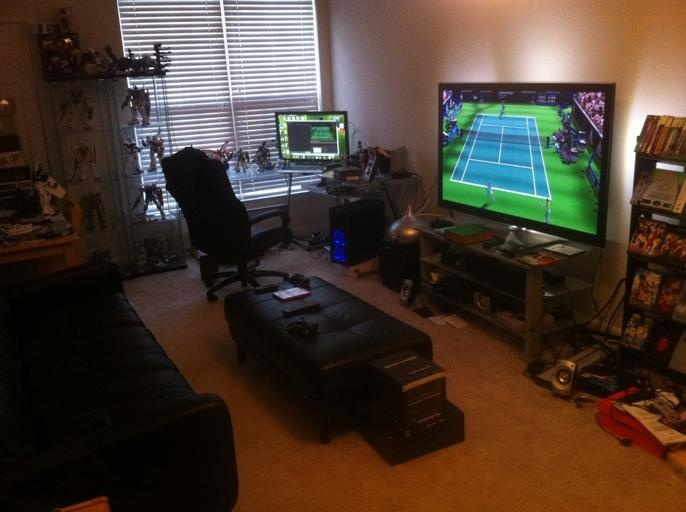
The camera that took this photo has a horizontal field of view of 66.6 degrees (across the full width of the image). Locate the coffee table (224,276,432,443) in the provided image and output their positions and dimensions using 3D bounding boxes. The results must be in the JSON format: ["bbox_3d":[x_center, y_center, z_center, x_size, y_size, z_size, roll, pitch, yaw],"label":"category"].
[{"bbox_3d":[-0.126,0.563,3.300,0.750,0.530,1.191,-19,25,-33],"label":"coffee table"}]

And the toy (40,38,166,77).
[{"bbox_3d":[-2.274,-1.879,4.952,1.106,0.396,0.333,-8,21,-11],"label":"toy"}]

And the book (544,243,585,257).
[{"bbox_3d":[1.462,-0.040,3.490,0.199,0.027,0.202,-17,25,-29],"label":"book"}]

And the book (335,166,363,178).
[{"bbox_3d":[0.041,-0.856,5.307,0.157,0.069,0.158,-2,22,-5],"label":"book"}]

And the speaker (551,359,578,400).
[{"bbox_3d":[1.312,0.727,3.116,0.136,0.207,0.124,3,22,20],"label":"speaker"}]

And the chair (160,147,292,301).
[{"bbox_3d":[-1.102,-0.270,4.755,0.988,1.615,1.003,15,29,36],"label":"chair"}]

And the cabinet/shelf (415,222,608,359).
[{"bbox_3d":[1.214,-0.042,3.735,0.788,0.747,1.416,-12,22,-26],"label":"cabinet/shelf"}]

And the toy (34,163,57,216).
[{"bbox_3d":[-2.432,-0.538,4.269,0.122,0.362,0.301,-15,23,-26],"label":"toy"}]

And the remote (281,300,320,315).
[{"bbox_3d":[-0.276,0.327,3.316,0.176,0.040,0.090,-11,22,-27],"label":"remote"}]
